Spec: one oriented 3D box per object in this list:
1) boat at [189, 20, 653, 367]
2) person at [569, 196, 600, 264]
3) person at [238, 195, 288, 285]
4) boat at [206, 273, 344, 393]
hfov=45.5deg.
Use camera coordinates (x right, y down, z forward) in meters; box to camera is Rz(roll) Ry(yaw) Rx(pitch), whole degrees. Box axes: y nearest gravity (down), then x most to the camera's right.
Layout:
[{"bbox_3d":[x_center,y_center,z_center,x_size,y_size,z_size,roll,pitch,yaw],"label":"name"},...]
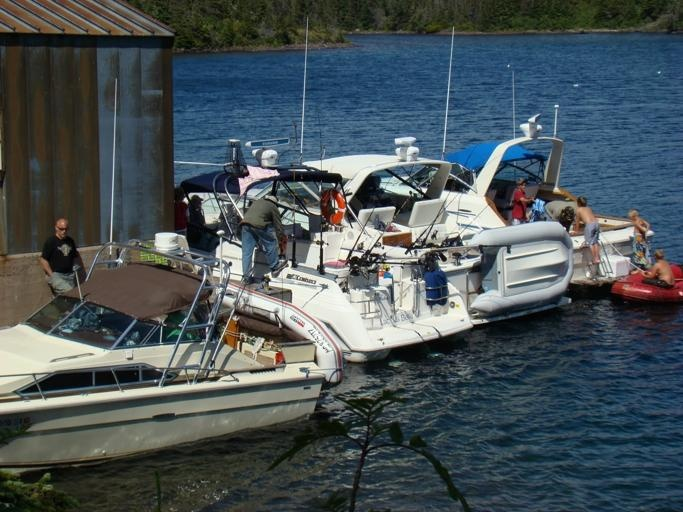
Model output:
[{"bbox_3d":[2.531,-1.070,18.418,10.735,4.481,9.435,-12,18,-34],"label":"boat"},{"bbox_3d":[5.393,-0.550,17.717,0.708,1.285,0.608,-10,7,-16],"label":"person"},{"bbox_3d":[-1.428,-0.306,14.384,0.840,1.299,1.108,7,9,38],"label":"person"},{"bbox_3d":[-0.388,1.341,13.730,2.296,1.516,2.141,-15,22,-40],"label":"boat"}]
